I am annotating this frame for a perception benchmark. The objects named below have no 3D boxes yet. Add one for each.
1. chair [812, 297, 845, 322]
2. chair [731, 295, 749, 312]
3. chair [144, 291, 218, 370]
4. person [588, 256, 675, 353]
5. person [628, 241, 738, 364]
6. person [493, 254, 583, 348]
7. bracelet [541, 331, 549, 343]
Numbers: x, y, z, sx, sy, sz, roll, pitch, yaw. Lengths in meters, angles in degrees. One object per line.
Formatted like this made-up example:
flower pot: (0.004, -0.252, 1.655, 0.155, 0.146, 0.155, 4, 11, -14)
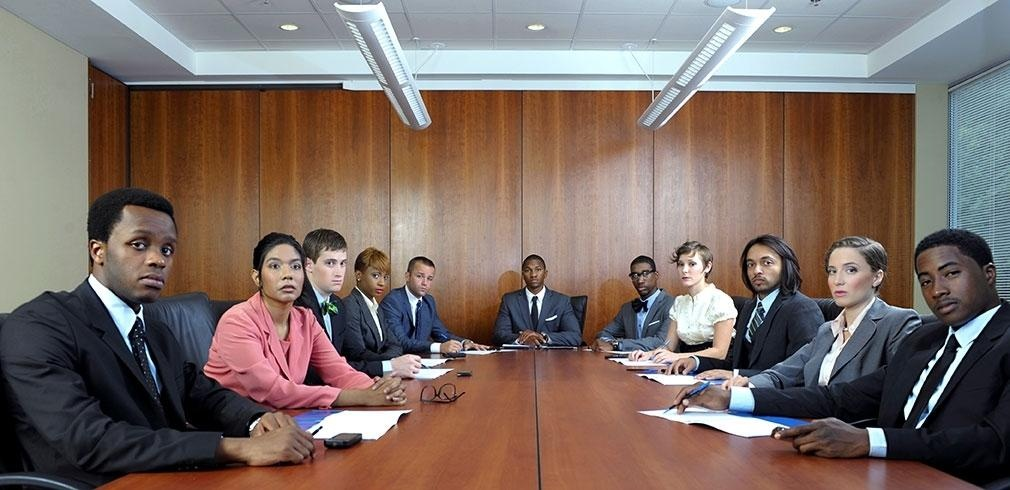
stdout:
chair: (3.086, 0.619, 5.774, 0.274, 0.131, 0.349, 1, -8, 29)
chair: (2.817, 0.746, 7.240, 0.199, 0.097, 0.347, 0, 7, 20)
chair: (-2.872, 0.702, 5.491, 0.694, 0.770, 0.700, 4, -11, -41)
person: (1.728, 0.830, 7.719, 1.140, 1.252, 1.087, -5, -4, -24)
person: (2.062, 0.678, 6.981, 1.314, 1.228, 1.048, 2, -4, -21)
person: (0.471, 0.700, 7.940, 1.139, 1.144, 1.093, -1, 0, -19)
bracelet: (0.498, 1.130, 7.448, 0.037, 0.091, 0.099, -23, -7, 9)
